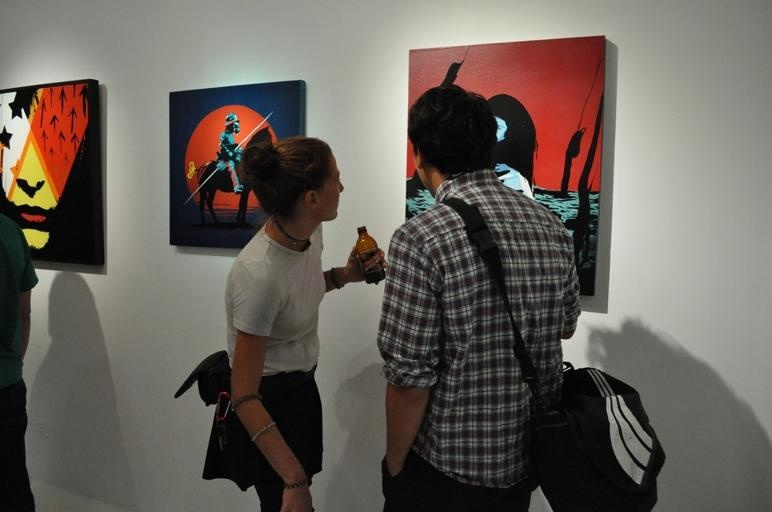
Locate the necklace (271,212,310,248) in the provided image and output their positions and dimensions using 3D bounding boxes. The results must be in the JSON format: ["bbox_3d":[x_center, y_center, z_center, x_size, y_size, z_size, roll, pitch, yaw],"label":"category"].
[{"bbox_3d":[-0.401,-0.088,2.418,0.036,0.146,0.115,-52,26,-21],"label":"necklace"}]

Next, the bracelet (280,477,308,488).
[{"bbox_3d":[-0.356,0.916,2.311,0.096,0.037,0.033,1,4,-34],"label":"bracelet"}]

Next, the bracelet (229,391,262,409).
[{"bbox_3d":[-0.567,0.562,2.279,0.087,0.037,0.067,-19,-7,2],"label":"bracelet"}]

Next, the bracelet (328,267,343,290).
[{"bbox_3d":[-0.240,0.104,2.701,0.030,0.084,0.071,-3,6,-15],"label":"bracelet"}]

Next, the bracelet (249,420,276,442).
[{"bbox_3d":[-0.492,0.702,2.292,0.083,0.022,0.067,-42,8,-12],"label":"bracelet"}]
